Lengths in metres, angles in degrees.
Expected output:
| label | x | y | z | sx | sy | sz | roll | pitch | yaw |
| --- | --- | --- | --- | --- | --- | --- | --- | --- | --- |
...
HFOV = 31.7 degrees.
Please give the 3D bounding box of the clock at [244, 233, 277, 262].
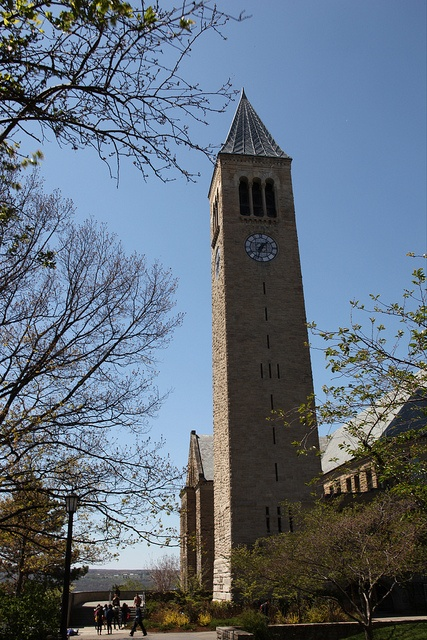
| label | x | y | z | sx | sy | sz | roll | pitch | yaw |
| --- | --- | --- | --- | --- | --- | --- | --- | --- | --- |
| clock | 2.502 | -3.929 | 41.161 | 2.074 | 1.882 | 0.080 | -2 | -32 | -12 |
